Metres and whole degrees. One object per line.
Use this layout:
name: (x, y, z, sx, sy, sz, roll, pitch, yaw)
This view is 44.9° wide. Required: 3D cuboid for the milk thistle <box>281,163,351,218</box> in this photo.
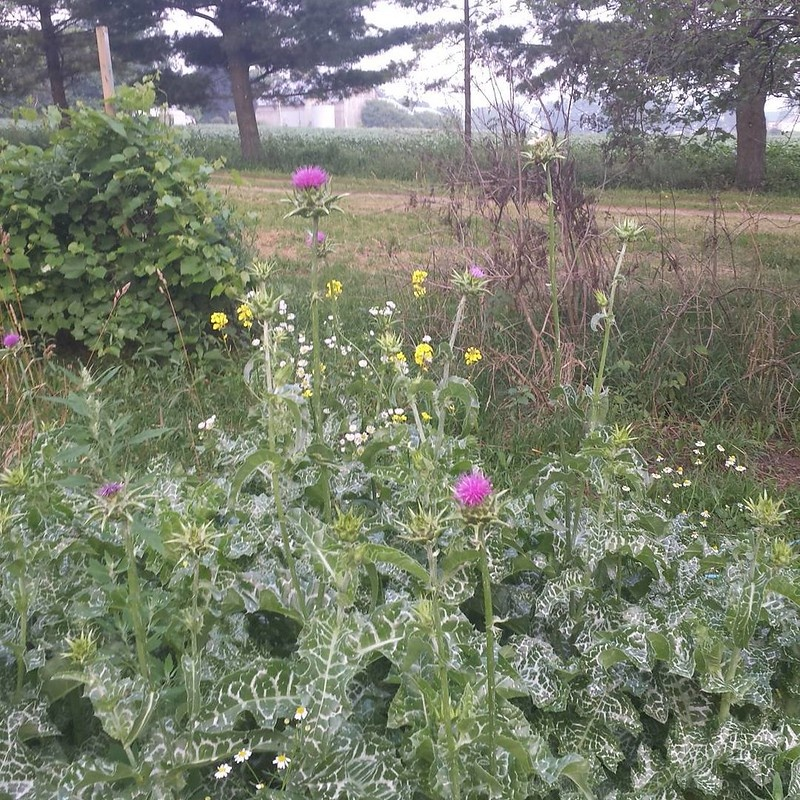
milk thistle: (-0.242, -0.559, 2.606, 0.120, 0.194, 0.150, 0, 12, 5)
